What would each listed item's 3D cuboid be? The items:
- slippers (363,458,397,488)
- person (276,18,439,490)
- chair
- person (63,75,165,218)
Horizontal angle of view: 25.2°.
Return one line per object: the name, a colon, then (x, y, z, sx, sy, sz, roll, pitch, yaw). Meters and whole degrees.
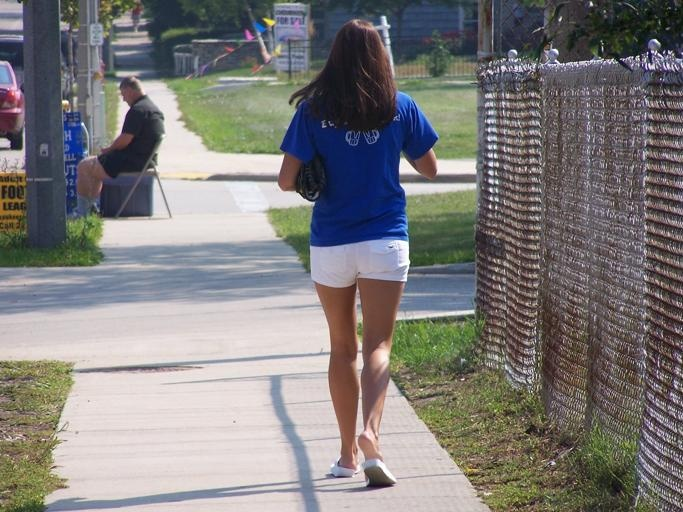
slippers: (0.259, 1.513, 10.518, 0.131, 0.265, 0.112, -11, 54, 12)
person: (0.128, -0.004, 10.611, 1.045, 3.110, 0.862, 1, 12, -3)
chair: (-2.594, -0.949, 19.464, 0.909, 1.095, 0.656, 0, 3, -11)
person: (-2.675, -1.242, 18.553, 1.002, 1.863, 0.704, 8, 4, 4)
